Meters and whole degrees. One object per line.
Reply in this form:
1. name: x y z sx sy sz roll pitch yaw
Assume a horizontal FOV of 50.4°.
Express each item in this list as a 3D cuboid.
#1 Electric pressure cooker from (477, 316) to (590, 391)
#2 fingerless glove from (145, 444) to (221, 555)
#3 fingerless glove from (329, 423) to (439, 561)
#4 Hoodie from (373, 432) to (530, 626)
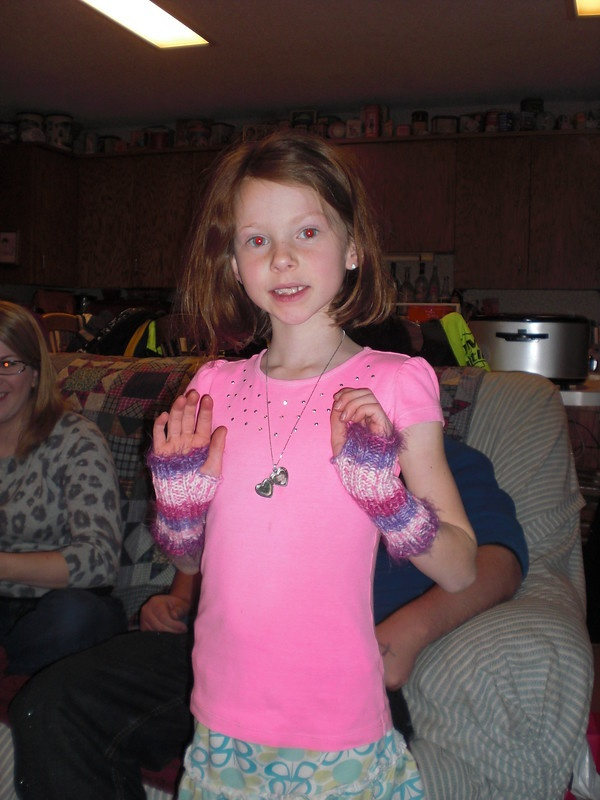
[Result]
1. Electric pressure cooker: 0.904 -0.209 2.475 0.532 0.318 0.318 2 3 15
2. fingerless glove: -0.127 0.110 0.675 0.079 0.124 0.034 7 34 1
3. fingerless glove: 0.080 0.085 0.632 0.092 0.125 0.041 -46 1 0
4. Hoodie: 0.243 0.229 0.983 0.223 0.290 0.099 -16 -43 24
